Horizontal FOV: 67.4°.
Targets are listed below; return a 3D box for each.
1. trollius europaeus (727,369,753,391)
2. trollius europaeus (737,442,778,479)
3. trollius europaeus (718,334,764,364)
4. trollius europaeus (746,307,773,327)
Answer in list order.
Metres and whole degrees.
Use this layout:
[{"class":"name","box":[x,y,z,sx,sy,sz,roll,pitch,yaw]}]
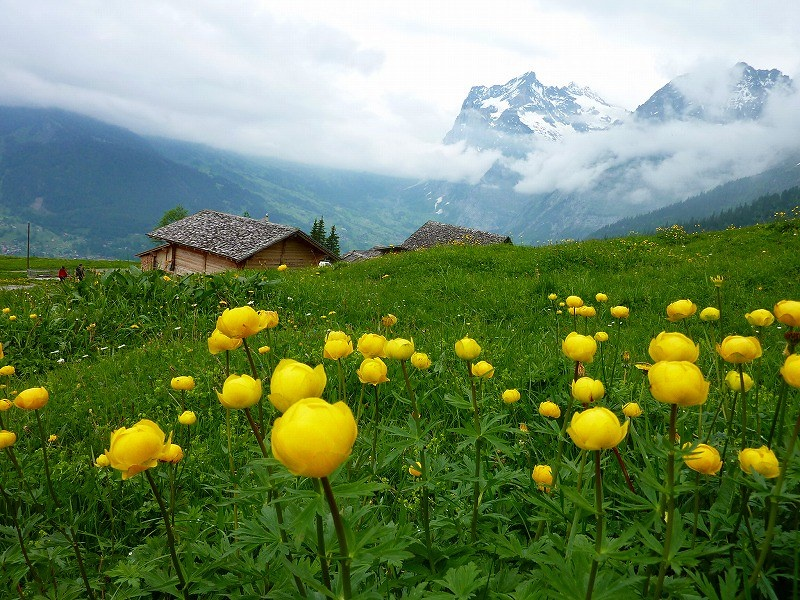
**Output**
[{"class":"trollius europaeus","box":[1.896,0.432,3.348,0.132,0.122,0.161,1,1,30]},{"class":"trollius europaeus","box":[1.784,0.797,3.037,0.156,0.116,0.155,-22,-34,29]},{"class":"trollius europaeus","box":[1.745,0.267,3.087,0.163,0.105,0.162,-10,2,-30]},{"class":"trollius europaeus","box":[2.041,0.097,3.406,0.133,0.090,0.140,1,1,2]}]
